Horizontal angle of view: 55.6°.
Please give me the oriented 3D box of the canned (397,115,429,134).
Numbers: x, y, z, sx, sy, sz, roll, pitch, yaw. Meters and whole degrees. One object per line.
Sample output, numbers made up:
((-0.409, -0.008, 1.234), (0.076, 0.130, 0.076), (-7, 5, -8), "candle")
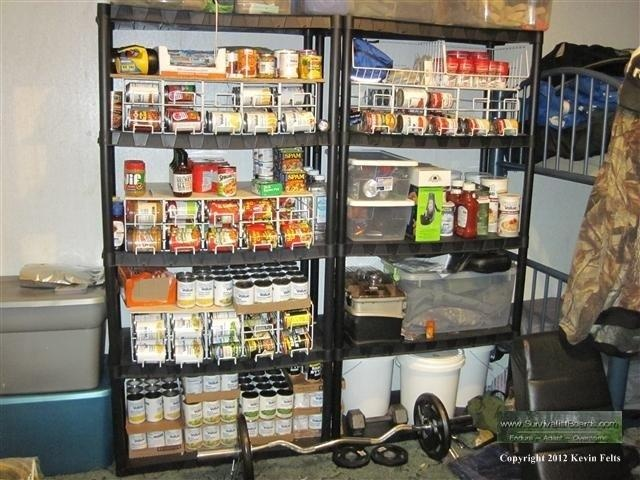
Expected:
((0.489, -0.597, 3.197), (0.174, 0.109, 0.051), (-6, 16, -10), "canned")

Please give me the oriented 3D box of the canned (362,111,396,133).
((0.302, -0.598, 3.132), (0.159, 0.109, 0.069), (2, 3, -1), "canned")

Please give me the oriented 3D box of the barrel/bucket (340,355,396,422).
((0.279, 0.882, 3.756), (0.267, 0.390, 0.280), (2, 11, 0), "barrel/bucket")

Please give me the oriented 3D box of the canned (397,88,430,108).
((0.472, -0.746, 3.259), (0.185, 0.116, 0.136), (-4, 16, -26), "canned")

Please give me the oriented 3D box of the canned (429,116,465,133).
((0.671, -0.604, 3.239), (0.089, 0.053, 0.053), (6, 28, -13), "canned")

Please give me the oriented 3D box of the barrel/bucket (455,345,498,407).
((0.948, 0.830, 3.860), (0.224, 0.412, 0.230), (7, 12, -2), "barrel/bucket")

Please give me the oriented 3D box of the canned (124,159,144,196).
((-0.939, -0.305, 3.058), (0.110, 0.167, 0.101), (-9, 16, -16), "canned")
